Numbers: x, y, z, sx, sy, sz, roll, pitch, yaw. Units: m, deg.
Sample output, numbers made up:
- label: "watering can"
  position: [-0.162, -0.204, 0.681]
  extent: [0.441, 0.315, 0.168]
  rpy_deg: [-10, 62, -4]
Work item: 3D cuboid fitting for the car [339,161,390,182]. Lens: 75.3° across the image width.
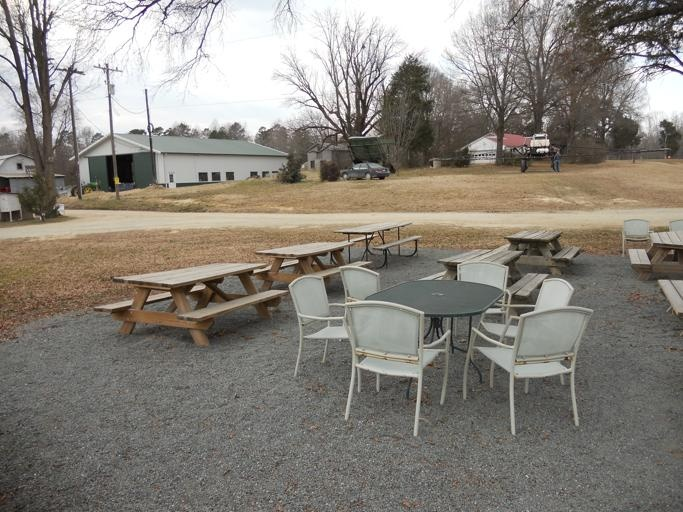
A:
- label: "car"
  position: [1.776, -6.784, 35.747]
  extent: [3.771, 1.008, 1.676]
  rpy_deg: [7, 12, 32]
